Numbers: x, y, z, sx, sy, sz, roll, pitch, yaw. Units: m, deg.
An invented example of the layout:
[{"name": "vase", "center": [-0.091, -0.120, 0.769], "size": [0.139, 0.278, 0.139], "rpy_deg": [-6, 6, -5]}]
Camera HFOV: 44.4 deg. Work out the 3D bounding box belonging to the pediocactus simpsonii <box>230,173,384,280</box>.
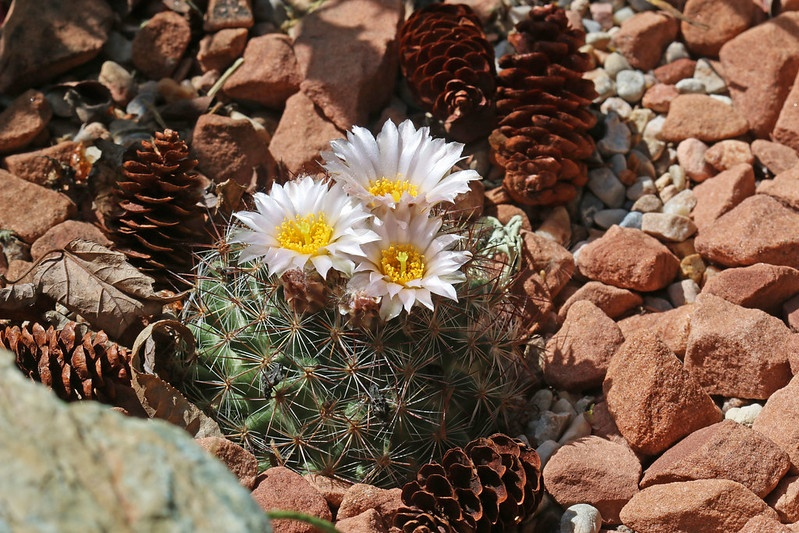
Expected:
[{"name": "pediocactus simpsonii", "center": [-0.438, -0.110, 4.413], "size": [0.585, 0.429, 0.485], "rpy_deg": [-9, 49, -21]}]
